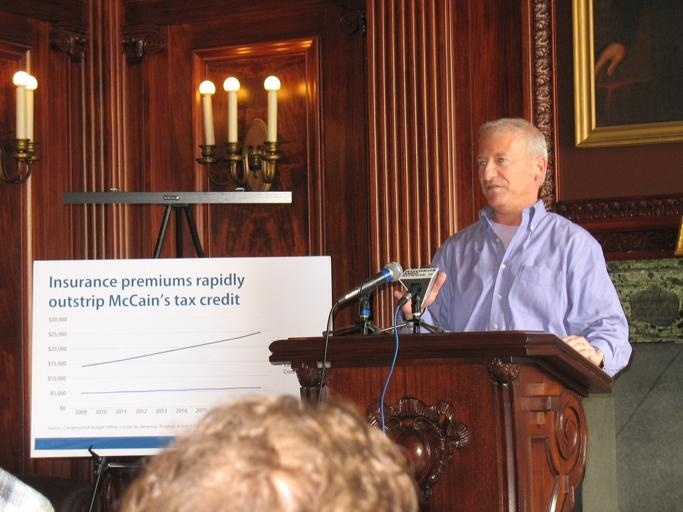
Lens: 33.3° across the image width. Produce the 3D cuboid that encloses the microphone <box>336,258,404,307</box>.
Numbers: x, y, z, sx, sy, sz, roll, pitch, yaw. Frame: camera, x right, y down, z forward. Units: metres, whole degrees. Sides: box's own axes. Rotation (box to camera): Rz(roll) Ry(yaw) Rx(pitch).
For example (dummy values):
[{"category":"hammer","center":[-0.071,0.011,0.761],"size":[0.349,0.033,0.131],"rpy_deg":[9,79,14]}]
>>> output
[{"category":"microphone","center":[0.154,0.132,5.668],"size":[0.316,0.093,0.085],"rpy_deg":[-38,-7,-14]}]

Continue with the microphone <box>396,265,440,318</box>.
[{"category":"microphone","center":[0.315,0.146,4.612],"size":[0.174,0.270,0.109],"rpy_deg":[-4,-24,19]}]

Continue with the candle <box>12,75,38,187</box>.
[{"category":"candle","center":[-1.868,-0.754,6.706],"size":[0.214,0.638,0.136],"rpy_deg":[3,10,42]}]

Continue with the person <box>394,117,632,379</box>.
[{"category":"person","center":[0.744,0.114,5.186],"size":[1.023,1.579,0.769],"rpy_deg":[-4,-15,25]}]
